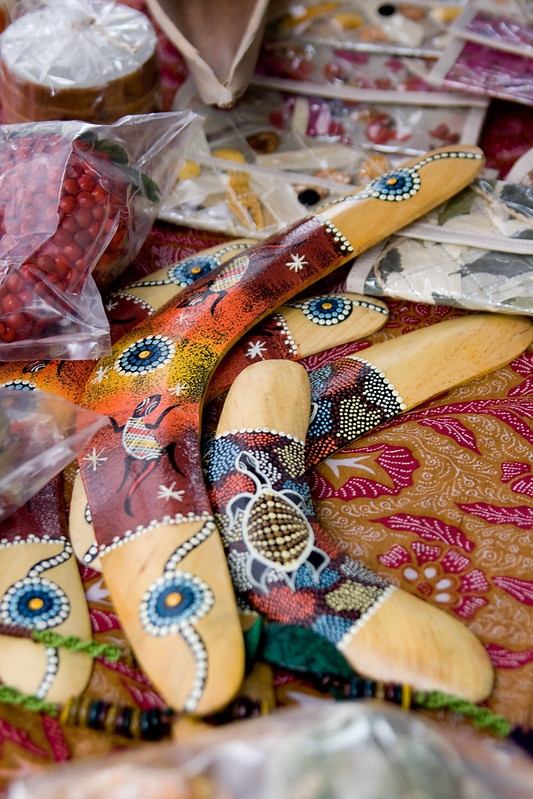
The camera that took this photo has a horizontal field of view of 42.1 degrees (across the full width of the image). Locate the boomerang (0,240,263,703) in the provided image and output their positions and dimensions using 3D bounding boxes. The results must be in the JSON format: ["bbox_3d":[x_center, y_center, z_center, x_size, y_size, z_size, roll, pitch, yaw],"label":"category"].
[{"bbox_3d":[-0.120,0.023,0.550,0.139,0.063,0.352,4,60,-4],"label":"boomerang"}]
